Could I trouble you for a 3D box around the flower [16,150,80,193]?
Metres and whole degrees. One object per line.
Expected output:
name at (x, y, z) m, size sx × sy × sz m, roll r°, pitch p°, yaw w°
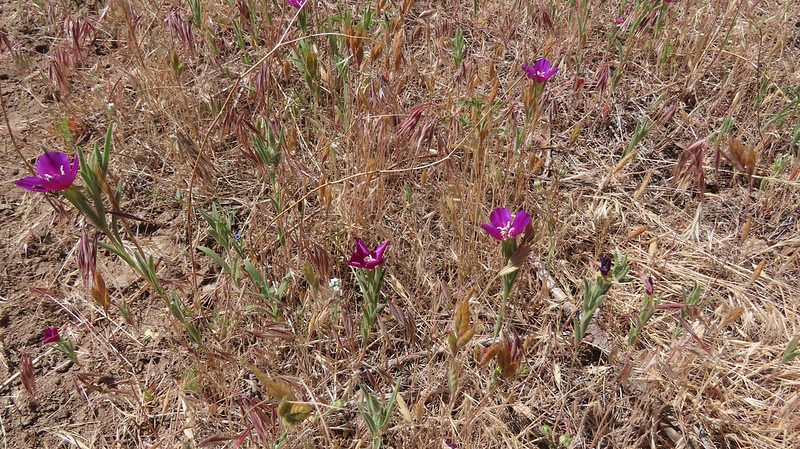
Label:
flower at (-1.616, -0.217, 2.994) m, size 0.278 × 0.134 × 0.217 m, roll 4°, pitch 51°, yaw 46°
